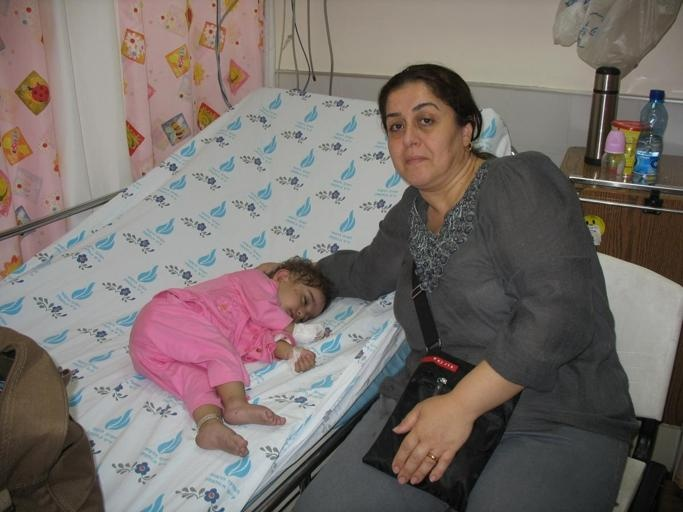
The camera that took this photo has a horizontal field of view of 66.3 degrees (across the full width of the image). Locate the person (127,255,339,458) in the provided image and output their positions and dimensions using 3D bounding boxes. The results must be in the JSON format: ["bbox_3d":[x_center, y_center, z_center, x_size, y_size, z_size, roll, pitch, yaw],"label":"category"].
[{"bbox_3d":[-0.368,0.278,1.922,0.599,0.301,1.015,11,19,13],"label":"person"}]

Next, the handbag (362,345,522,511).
[{"bbox_3d":[0.270,0.442,1.357,0.340,0.097,0.372,24,73,32],"label":"handbag"}]

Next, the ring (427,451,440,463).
[{"bbox_3d":[0.227,0.504,1.310,0.027,0.011,0.026,35,12,-9],"label":"ring"}]
